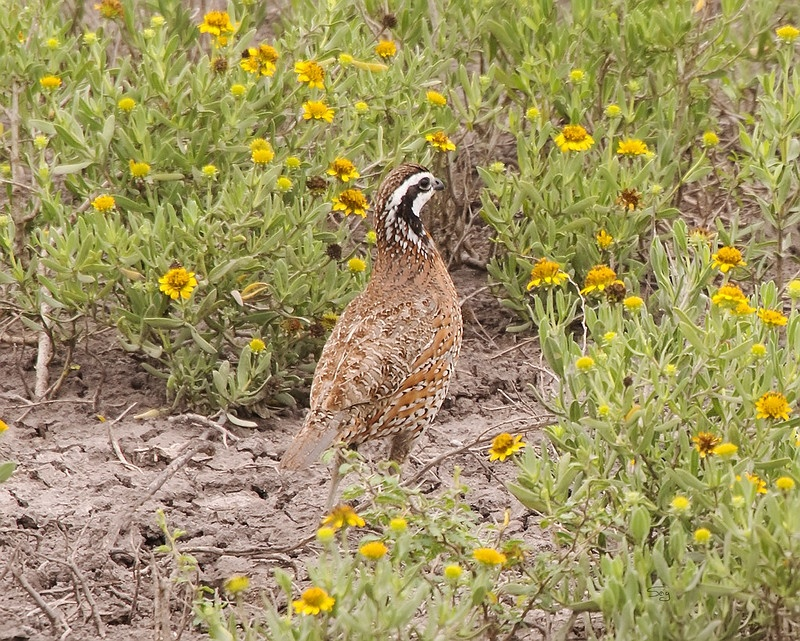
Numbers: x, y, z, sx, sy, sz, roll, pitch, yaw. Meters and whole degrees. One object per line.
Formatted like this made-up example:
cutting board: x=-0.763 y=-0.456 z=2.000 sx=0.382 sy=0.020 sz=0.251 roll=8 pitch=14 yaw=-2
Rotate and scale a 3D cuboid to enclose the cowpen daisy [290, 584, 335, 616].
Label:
cowpen daisy: x=-0.264 y=0.882 z=3.186 sx=0.130 sy=0.044 sz=0.125 roll=-2 pitch=10 yaw=-15
